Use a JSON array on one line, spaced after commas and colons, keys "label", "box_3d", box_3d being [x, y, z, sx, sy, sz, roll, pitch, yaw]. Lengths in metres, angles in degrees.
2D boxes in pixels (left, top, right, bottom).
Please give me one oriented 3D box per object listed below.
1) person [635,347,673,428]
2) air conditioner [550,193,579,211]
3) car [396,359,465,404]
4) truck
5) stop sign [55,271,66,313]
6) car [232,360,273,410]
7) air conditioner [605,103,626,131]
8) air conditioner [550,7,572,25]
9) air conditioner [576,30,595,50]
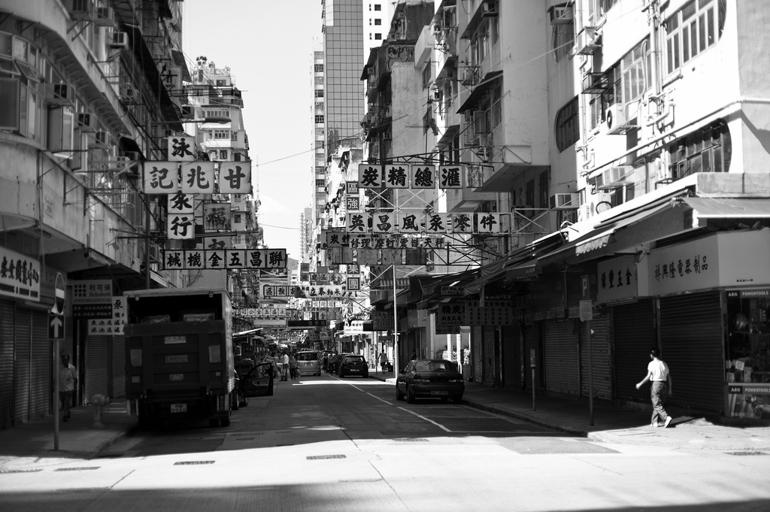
[{"label": "person", "box_3d": [8.049, 3.877, 31.318, 1.096, 2.910, 1.076, 1, 0, 5]}, {"label": "air conditioner", "box_3d": [7.398, -2.306, 42.968, 1.116, 0.662, 0.749, 0, -8, 5]}, {"label": "car", "box_3d": [1.790, 5.141, 42.295, 2.287, 1.887, 4.336, -4, -3, -2]}, {"label": "truck", "box_3d": [-6.806, 3.312, 34.977, 2.637, 3.542, 5.205, -1, -2, -5]}, {"label": "stop sign", "box_3d": [-9.069, 0.927, 28.991, 0.249, 1.194, 1.238, 1, -13, -20]}, {"label": "car", "box_3d": [-6.069, 5.632, 47.024, 1.792, 1.926, 1.249, -3, 2, -4]}, {"label": "air conditioner", "box_3d": [8.173, -4.971, 37.081, 0.547, 1.228, 1.217, 0, -5, -5]}, {"label": "air conditioner", "box_3d": [7.374, -10.125, 43.585, 0.663, 0.459, 0.706, -1, -3, 4]}, {"label": "air conditioner", "box_3d": [7.762, -8.420, 40.412, 0.308, 0.400, 1.085, -3, -4, -1]}]
